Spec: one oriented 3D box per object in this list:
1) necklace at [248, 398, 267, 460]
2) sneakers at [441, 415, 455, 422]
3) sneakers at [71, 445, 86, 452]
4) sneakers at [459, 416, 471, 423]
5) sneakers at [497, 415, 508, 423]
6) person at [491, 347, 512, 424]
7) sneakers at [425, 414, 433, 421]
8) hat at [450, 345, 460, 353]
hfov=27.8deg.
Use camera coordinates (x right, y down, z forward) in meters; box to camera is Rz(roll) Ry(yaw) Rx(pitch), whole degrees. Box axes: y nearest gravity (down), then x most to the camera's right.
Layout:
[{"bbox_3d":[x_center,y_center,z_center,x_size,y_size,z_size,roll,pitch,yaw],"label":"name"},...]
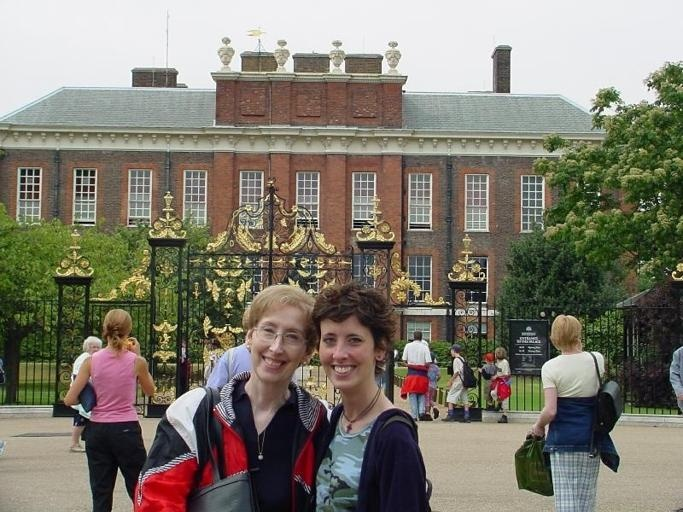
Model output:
[{"bbox_3d":[-1.522,3.178,25.076,0.332,1.097,0.214,1,-2,-2],"label":"necklace"},{"bbox_3d":[2.875,4.320,36.773,0.352,0.171,0.128,4,-7,-8],"label":"sneakers"},{"bbox_3d":[-6.179,4.488,32.313,0.320,0.146,0.139,0,-3,9],"label":"sneakers"},{"bbox_3d":[3.328,4.340,36.764,0.304,0.130,0.123,3,-4,21],"label":"sneakers"},{"bbox_3d":[4.325,4.301,36.631,0.315,0.300,0.145,3,-8,2],"label":"sneakers"},{"bbox_3d":[4.291,3.417,36.864,0.563,1.982,0.599,-1,-4,5],"label":"person"},{"bbox_3d":[2.384,4.331,37.103,0.119,0.217,0.160,-8,-23,13],"label":"sneakers"},{"bbox_3d":[3.123,2.458,37.015,0.205,0.283,0.227,5,6,-7],"label":"hat"}]
